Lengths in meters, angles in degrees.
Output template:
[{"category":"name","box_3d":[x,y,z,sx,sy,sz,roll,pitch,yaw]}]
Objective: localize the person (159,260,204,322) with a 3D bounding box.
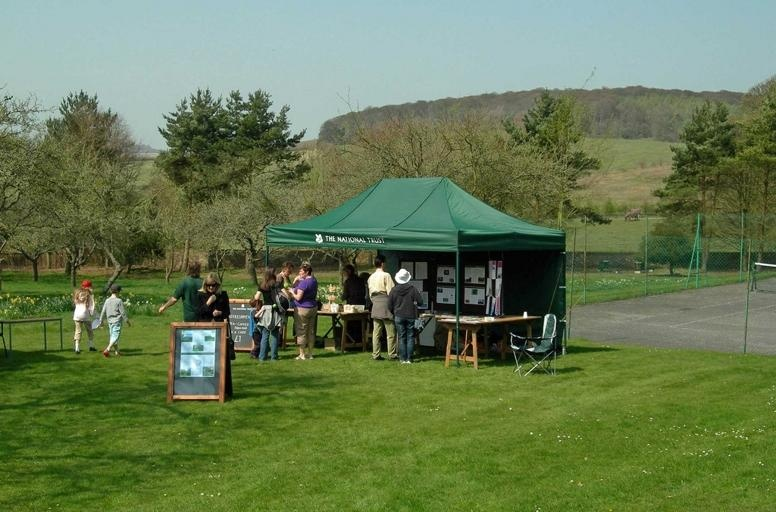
[{"category":"person","box_3d":[-5.240,0.942,24.352,0.821,1.549,1.332,0,-3,-14]}]

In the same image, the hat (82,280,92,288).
[{"category":"hat","box_3d":[-8.488,0.835,26.375,0.305,0.170,0.357,3,12,-13]}]

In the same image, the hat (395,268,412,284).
[{"category":"hat","box_3d":[0.384,0.596,25.784,0.339,0.400,0.464,-1,-3,5]}]

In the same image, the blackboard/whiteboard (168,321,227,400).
[{"category":"blackboard/whiteboard","box_3d":[-4.607,2.572,22.613,1.621,2.545,0.166,0,-2,-2]}]
